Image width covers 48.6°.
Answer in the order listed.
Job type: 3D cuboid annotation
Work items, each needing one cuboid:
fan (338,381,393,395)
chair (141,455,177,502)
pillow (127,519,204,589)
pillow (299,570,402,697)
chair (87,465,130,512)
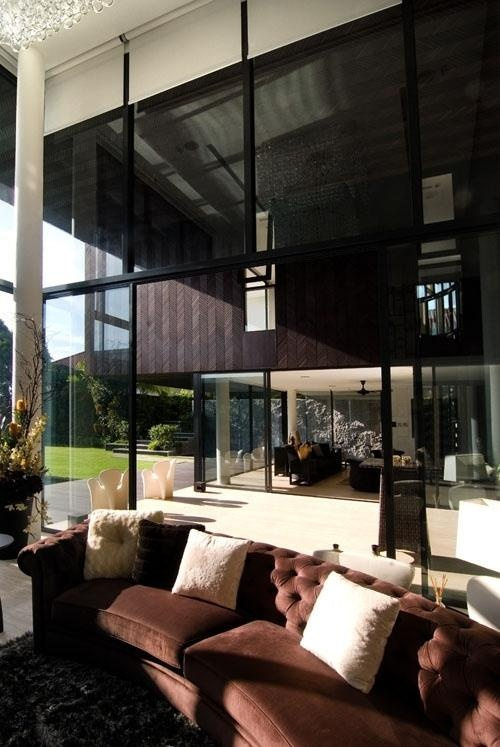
[{"bbox_3d":[2.277,0.291,11.207,0.619,0.326,0.621,-5,-7,45],"label":"fan"},{"bbox_3d":[-1.572,1.730,9.113,0.510,0.685,0.613,0,-5,17],"label":"chair"},{"bbox_3d":[-0.489,1.068,3.208,0.281,0.122,0.316,-3,41,12],"label":"pillow"},{"bbox_3d":[0.399,1.019,2.180,0.096,0.325,0.338,26,-2,-18],"label":"pillow"},{"bbox_3d":[-1.264,1.033,5.062,0.373,0.524,0.350,1,-3,-21],"label":"chair"}]
